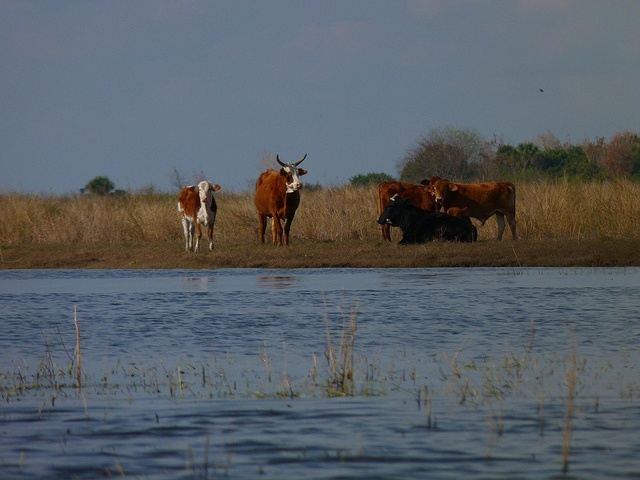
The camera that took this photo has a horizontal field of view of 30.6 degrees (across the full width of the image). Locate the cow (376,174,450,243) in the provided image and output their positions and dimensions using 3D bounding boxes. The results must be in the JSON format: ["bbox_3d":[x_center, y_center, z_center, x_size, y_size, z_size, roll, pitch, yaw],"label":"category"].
[{"bbox_3d":[2.317,-0.791,29.353,1.870,1.396,0.840,-3,3,-9],"label":"cow"}]

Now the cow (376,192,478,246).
[{"bbox_3d":[2.570,-0.462,27.335,2.533,1.520,0.873,9,7,38],"label":"cow"}]
